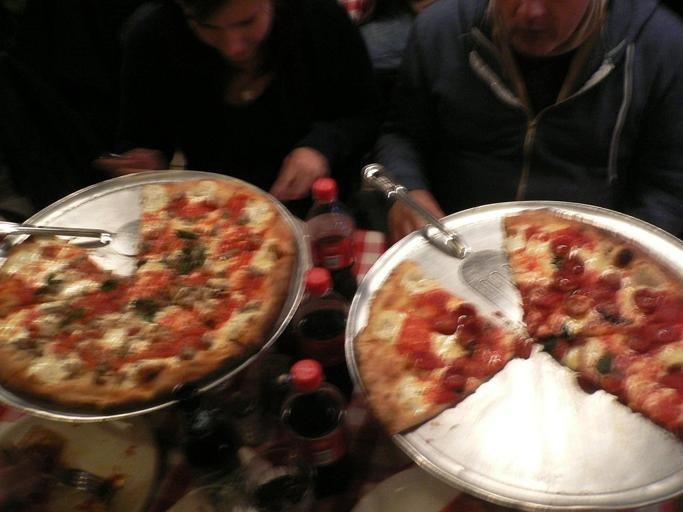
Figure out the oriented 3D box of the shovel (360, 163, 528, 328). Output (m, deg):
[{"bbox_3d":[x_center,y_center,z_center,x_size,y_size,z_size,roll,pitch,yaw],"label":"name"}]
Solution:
[{"bbox_3d":[0.272,-0.051,1.759,0.696,0.076,0.168,39,99,19],"label":"shovel"}]
